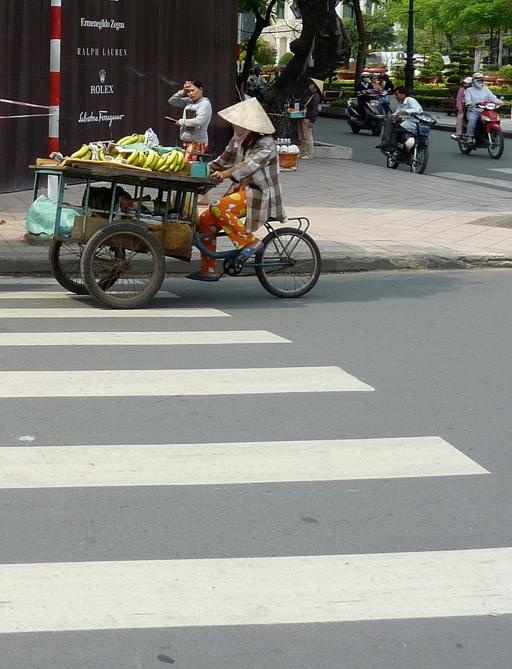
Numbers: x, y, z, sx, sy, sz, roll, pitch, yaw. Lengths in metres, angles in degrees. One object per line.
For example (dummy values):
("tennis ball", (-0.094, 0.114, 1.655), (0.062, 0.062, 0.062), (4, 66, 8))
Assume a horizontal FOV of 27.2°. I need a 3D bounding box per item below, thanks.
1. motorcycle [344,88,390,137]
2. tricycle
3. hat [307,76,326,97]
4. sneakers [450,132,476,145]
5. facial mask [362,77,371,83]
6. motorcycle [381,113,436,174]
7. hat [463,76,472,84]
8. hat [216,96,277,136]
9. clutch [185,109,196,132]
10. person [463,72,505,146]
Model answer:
("motorcycle", (2.711, -5.783, 27.328), (0.848, 0.993, 1.561), (-4, 10, -20))
("tricycle", (-0.609, -0.821, 8.492), (2.454, 0.994, 1.134), (-4, 13, -26))
("hat", (1.207, -4.749, 20.167), (0.191, 0.344, 0.495), (-39, -14, 1))
("sneakers", (4.416, -4.179, 22.492), (0.241, 0.270, 0.595), (13, -2, -41))
("facial mask", (2.770, -6.413, 26.653), (0.126, 0.130, 0.153), (1, -17, 0))
("motorcycle", (2.760, -3.510, 19.273), (0.743, 1.079, 1.140), (1, 13, -7))
("hat", (4.370, -5.307, 21.913), (0.162, 0.099, 0.205), (4, -2, 32))
("hat", (-0.066, -1.606, 8.021), (0.339, 0.130, 0.320), (21, 18, -5))
("clutch", (-0.789, -2.588, 12.663), (0.146, 0.221, 0.071), (3, -2, 10))
("person", (4.614, -4.659, 21.762), (0.691, 1.386, 1.020), (5, 13, 10))
